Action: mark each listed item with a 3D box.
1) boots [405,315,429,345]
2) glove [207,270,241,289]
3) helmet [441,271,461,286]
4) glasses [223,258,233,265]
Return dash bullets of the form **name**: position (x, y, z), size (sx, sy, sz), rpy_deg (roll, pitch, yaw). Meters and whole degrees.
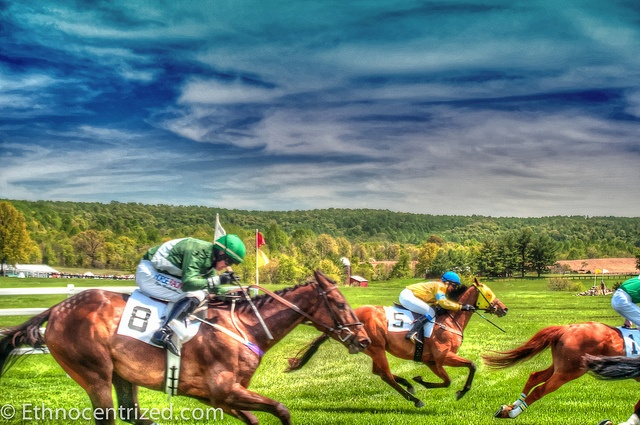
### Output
- **boots**: position (2.432, 2.994, 14.189), size (0.498, 0.521, 0.186), rpy_deg (5, -2, -15)
- **glove**: position (-1.970, 1.334, 11.212), size (0.582, 0.205, 0.365), rpy_deg (-22, 3, -11)
- **helmet**: position (3.464, 1.762, 14.878), size (0.599, 0.184, 0.332), rpy_deg (2, 4, 12)
- **glasses**: position (-1.874, 1.021, 11.363), size (0.212, 0.089, 0.161), rpy_deg (-1, 0, 6)
